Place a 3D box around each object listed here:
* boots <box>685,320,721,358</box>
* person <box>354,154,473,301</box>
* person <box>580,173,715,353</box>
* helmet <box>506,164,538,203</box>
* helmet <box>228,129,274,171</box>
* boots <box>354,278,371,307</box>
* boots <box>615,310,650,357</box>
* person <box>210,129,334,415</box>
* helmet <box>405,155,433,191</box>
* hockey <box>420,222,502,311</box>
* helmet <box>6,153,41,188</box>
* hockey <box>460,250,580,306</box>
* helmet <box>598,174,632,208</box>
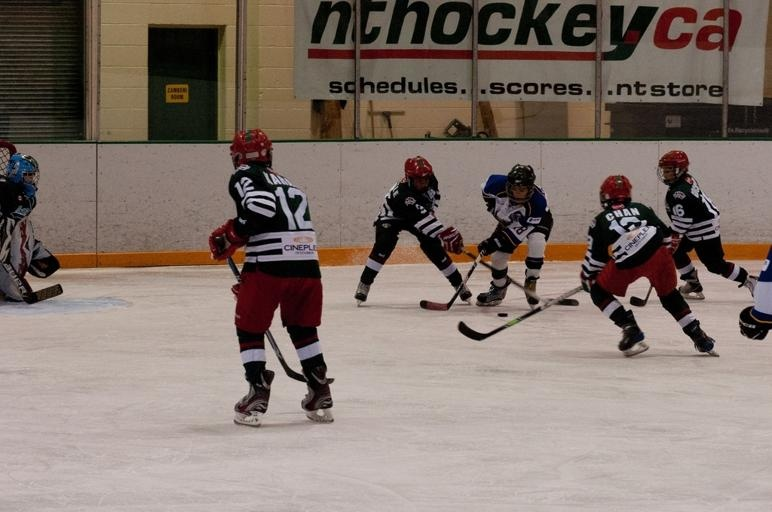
[{"bbox_3d":[2.292,0.613,7.384,0.255,0.092,0.119,54,18,21],"label":"boots"},{"bbox_3d":[0.254,-0.295,10.622,1.193,1.328,1.017,-24,34,-37],"label":"person"},{"bbox_3d":[1.847,0.069,7.344,0.578,1.250,0.842,-4,8,-28],"label":"person"},{"bbox_3d":[1.177,-0.646,8.860,0.276,0.318,0.316,3,44,6],"label":"helmet"},{"bbox_3d":[-0.800,-0.638,6.100,0.228,0.220,0.246,-1,10,-6],"label":"helmet"},{"bbox_3d":[-0.224,0.335,9.311,0.123,0.215,0.328,0,6,-2],"label":"boots"},{"bbox_3d":[1.764,0.549,7.261,0.207,0.317,0.208,1,7,12],"label":"boots"},{"bbox_3d":[-0.689,0.122,5.893,0.664,1.666,0.466,6,10,42],"label":"person"},{"bbox_3d":[0.295,-0.731,9.232,0.218,0.279,0.191,0,7,-3],"label":"helmet"},{"bbox_3d":[0.692,0.228,9.426,0.321,0.172,0.990,20,44,22],"label":"hockey"},{"bbox_3d":[-3.328,-0.776,9.470,0.346,0.276,0.290,6,5,-14],"label":"helmet"},{"bbox_3d":[1.297,0.235,10.041,0.138,0.078,1.184,-17,31,-35],"label":"hockey"},{"bbox_3d":[1.705,-0.477,7.655,0.249,0.242,0.290,0,11,5],"label":"helmet"}]
